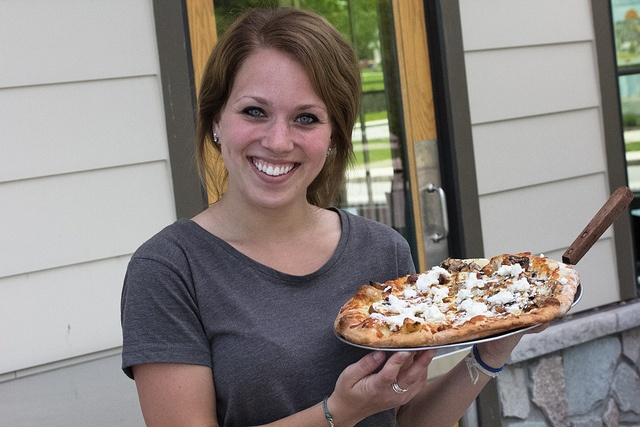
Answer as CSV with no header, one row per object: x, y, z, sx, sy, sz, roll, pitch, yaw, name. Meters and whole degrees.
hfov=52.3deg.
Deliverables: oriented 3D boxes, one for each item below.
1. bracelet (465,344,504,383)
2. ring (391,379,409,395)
0.666,0.611,2.737,0.140,0.175,0.155,0,2,39,bracelet
0.298,0.662,2.476,0.047,0.049,0.011,-8,-28,-24,ring
